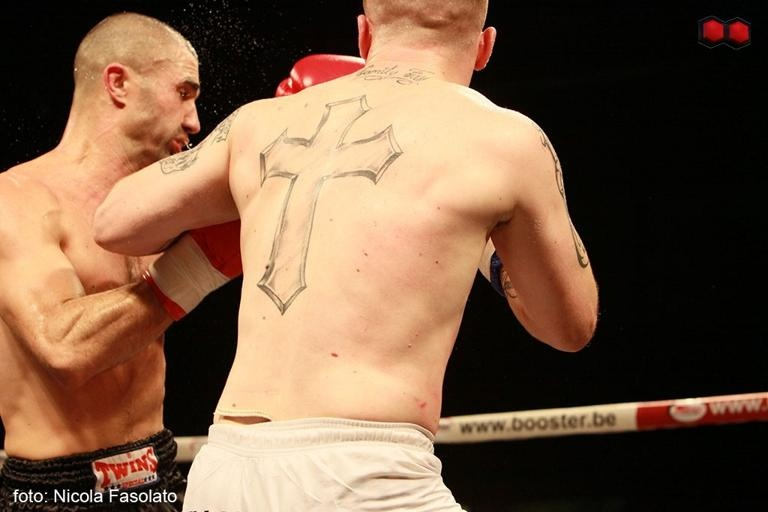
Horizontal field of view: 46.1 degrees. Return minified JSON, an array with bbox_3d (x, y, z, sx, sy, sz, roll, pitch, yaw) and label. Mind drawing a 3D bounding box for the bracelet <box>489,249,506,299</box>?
[{"bbox_3d":[0.399,0.056,3.212,0.089,0.128,0.047,-10,-34,24],"label":"bracelet"}]
